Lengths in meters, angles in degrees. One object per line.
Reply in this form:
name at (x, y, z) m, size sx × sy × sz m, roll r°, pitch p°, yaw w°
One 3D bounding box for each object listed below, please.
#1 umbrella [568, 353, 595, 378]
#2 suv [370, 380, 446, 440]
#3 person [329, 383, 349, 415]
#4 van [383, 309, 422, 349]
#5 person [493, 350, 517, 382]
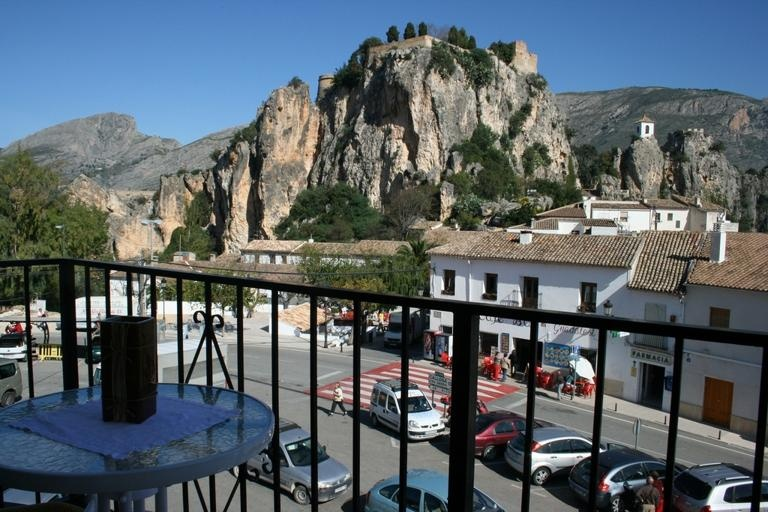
umbrella at (8.819, 4.962, 34.494) m, size 1.080 × 1.084 × 2.778 m, roll 5°, pitch -6°, yaw 14°
suv at (0.987, 6.347, 32.036) m, size 1.928 × 1.915 × 3.551 m, roll -1°, pitch 4°, yaw -33°
person at (-1.867, 6.219, 33.420) m, size 0.792 × 1.331 × 1.996 m, roll 6°, pitch -6°, yaw -3°
van at (1.272, 4.109, 44.054) m, size 1.318 × 1.967 × 3.939 m, roll 4°, pitch 6°, yaw 19°
person at (5.830, 5.298, 37.601) m, size 1.051 × 1.525 × 1.342 m, roll 3°, pitch -6°, yaw 26°
